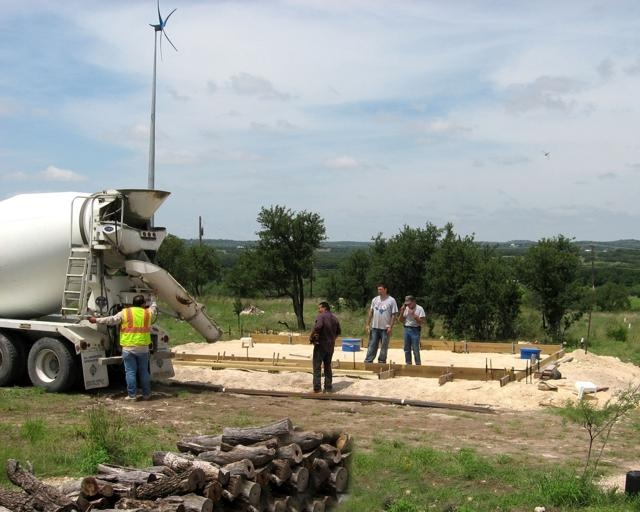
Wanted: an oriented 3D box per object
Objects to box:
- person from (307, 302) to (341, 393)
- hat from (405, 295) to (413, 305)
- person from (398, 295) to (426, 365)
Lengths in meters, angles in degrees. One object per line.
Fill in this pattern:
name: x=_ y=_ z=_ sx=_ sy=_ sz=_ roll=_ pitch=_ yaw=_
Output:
person: x=0.103 y=1.835 z=14.388 sx=0.552 sy=1.772 sz=1.308 roll=1 pitch=-2 yaw=1
hat: x=2.013 y=0.967 z=16.200 sx=0.150 sy=0.208 sz=0.206 roll=6 pitch=-21 yaw=12
person: x=2.138 y=1.766 z=16.579 sx=0.565 sy=1.628 sz=1.752 roll=0 pitch=-2 yaw=6
